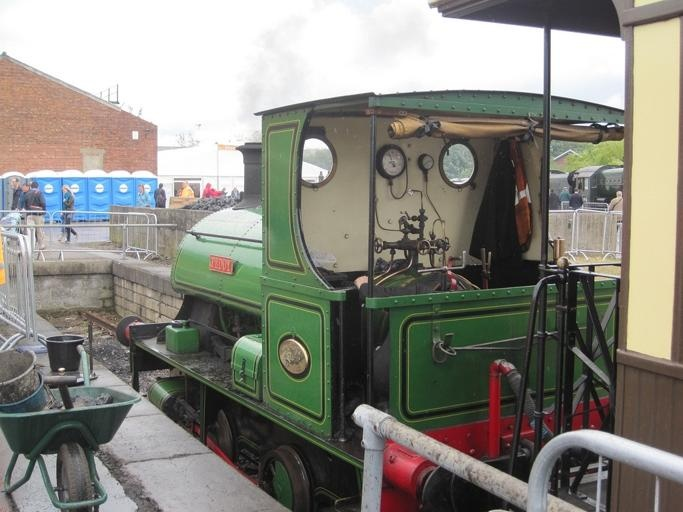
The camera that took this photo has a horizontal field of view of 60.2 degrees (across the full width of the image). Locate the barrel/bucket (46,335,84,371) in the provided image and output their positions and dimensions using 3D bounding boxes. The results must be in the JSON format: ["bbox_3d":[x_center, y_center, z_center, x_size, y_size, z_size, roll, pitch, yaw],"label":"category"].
[{"bbox_3d":[-3.297,1.086,7.037,0.462,0.420,0.514,1,-3,-15],"label":"barrel/bucket"}]
